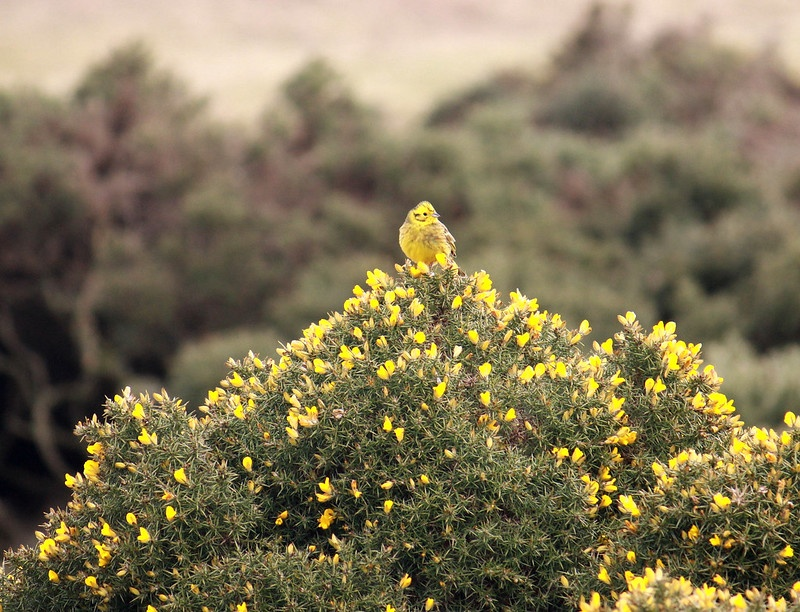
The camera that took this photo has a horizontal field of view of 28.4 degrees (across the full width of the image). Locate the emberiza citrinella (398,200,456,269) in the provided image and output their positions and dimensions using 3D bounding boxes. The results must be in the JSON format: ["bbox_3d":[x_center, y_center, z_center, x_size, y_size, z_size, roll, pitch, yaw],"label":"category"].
[{"bbox_3d":[0.200,-0.466,11.247,0.348,0.492,0.588,-3,-1,16],"label":"emberiza citrinella"}]
